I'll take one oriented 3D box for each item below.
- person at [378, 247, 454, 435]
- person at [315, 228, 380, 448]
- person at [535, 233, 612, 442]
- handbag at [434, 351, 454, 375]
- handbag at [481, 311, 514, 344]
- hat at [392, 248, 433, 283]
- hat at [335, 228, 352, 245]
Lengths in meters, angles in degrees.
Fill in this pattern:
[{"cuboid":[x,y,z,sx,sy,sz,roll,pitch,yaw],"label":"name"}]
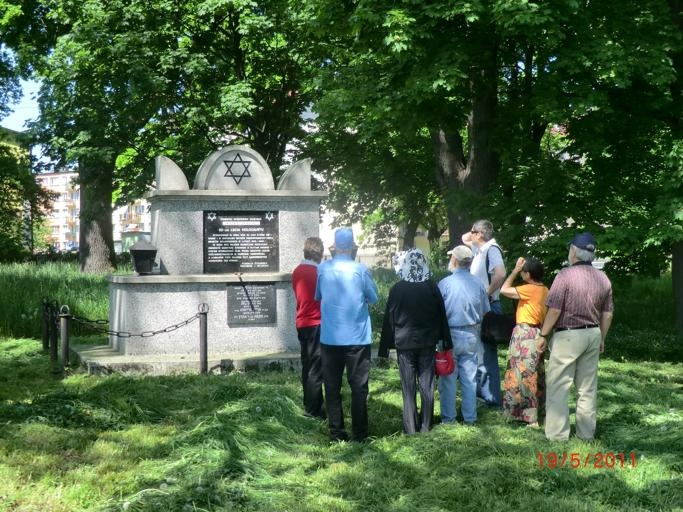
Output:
[{"cuboid":[1.151,1.314,13.716,1.110,2.826,0.708,3,13,6],"label":"person"},{"cuboid":[0.062,1.203,13.583,1.020,3.175,0.777,13,17,39],"label":"person"},{"cuboid":[3.567,1.223,13.428,1.011,3.047,0.920,1,13,-3],"label":"person"},{"cuboid":[1.584,1.658,13.773,0.352,0.338,0.188,-1,-8,4],"label":"handbag"},{"cuboid":[2.531,1.162,14.344,0.495,0.457,0.234,1,14,1],"label":"handbag"},{"cuboid":[1.118,0.109,13.829,0.529,0.554,0.491,2,13,1],"label":"hat"},{"cuboid":[0.026,-0.294,13.522,0.206,0.225,0.289,2,20,6],"label":"hat"}]
